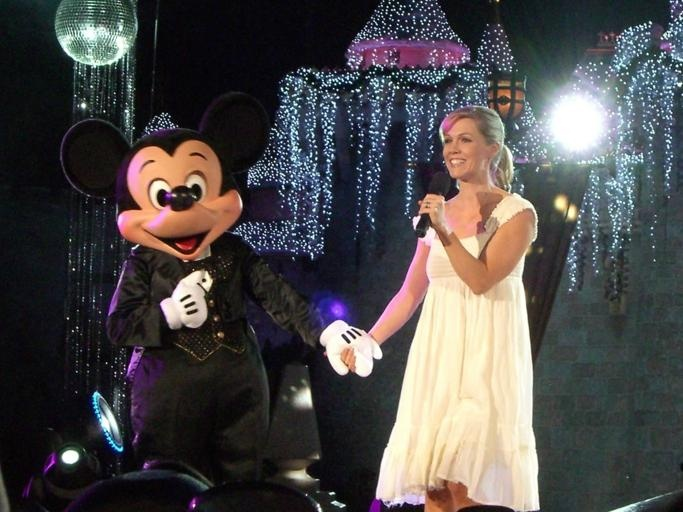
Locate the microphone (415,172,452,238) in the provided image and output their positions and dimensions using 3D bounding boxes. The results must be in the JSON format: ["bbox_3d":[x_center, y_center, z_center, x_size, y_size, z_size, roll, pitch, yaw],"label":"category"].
[{"bbox_3d":[0.452,-0.288,4.076,0.103,0.467,0.123,11,-35,4],"label":"microphone"}]

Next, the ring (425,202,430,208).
[{"bbox_3d":[0.408,-0.244,3.939,0.018,0.020,0.018,1,-37,1],"label":"ring"}]

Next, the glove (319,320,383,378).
[{"bbox_3d":[0.019,0.515,4.151,0.220,0.295,0.086,-21,-20,-26],"label":"glove"}]
